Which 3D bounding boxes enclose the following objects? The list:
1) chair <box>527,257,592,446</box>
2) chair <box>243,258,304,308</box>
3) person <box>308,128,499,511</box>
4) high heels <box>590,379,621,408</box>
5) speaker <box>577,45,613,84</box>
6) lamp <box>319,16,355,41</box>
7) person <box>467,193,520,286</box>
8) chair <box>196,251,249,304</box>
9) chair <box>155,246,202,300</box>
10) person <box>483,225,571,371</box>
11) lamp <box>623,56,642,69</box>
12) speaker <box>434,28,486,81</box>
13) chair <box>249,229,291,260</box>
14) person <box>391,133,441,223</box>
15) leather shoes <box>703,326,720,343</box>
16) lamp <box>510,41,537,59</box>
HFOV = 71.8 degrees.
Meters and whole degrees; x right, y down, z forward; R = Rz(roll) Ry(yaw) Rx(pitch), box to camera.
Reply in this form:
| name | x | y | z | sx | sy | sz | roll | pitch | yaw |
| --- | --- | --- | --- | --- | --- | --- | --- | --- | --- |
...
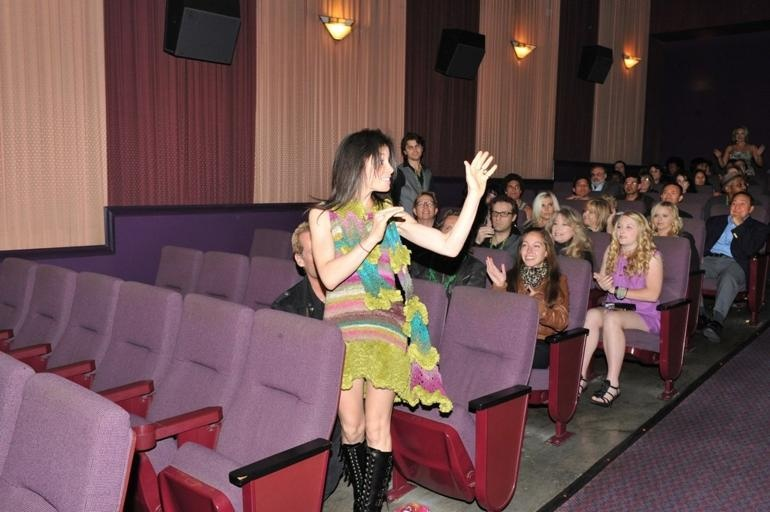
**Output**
| name | x | y | z | sx | sy | sz | roll | pitch | yaw |
| --- | --- | --- | --- | --- | --- | --- | --- | --- | --- |
| chair | 1.151 | 0.631 | 3.479 | 0.311 | 1.117 | 0.716 | 3 | 13 | 23 |
| chair | -0.802 | 0.201 | 3.929 | 0.355 | 0.457 | 0.368 | 10 | -3 | 14 |
| person | 0.040 | 0.340 | 2.416 | 0.687 | 1.790 | 0.319 | -6 | 13 | -15 |
| high heels | 1.643 | 0.992 | 3.928 | 0.277 | 0.185 | 0.121 | -12 | 15 | -35 |
| speaker | 3.948 | -3.616 | 9.949 | 0.756 | 0.672 | 0.293 | -12 | 16 | -38 |
| lamp | -0.534 | -2.711 | 6.306 | 0.495 | 0.270 | 0.141 | -13 | 17 | -40 |
| person | 0.885 | -0.051 | 4.520 | 0.332 | 0.982 | 0.309 | 14 | 36 | 4 |
| chair | -1.211 | 0.197 | 4.176 | 0.295 | 0.482 | 0.427 | 9 | -7 | 15 |
| chair | -1.572 | 0.131 | 4.062 | 0.273 | 0.438 | 0.318 | 15 | 4 | 13 |
| person | 0.922 | 0.335 | 3.470 | 0.520 | 0.843 | 0.635 | 10 | 24 | 34 |
| lamp | 5.112 | -4.040 | 10.975 | 0.344 | 0.369 | 0.083 | -2 | 14 | -31 |
| speaker | 1.082 | -2.913 | 7.642 | 0.807 | 0.683 | 0.277 | -12 | 16 | -37 |
| chair | -1.061 | -0.080 | 5.077 | 0.275 | 0.429 | 0.353 | 2 | -2 | 11 |
| person | 0.364 | -0.631 | 5.992 | 0.503 | 1.466 | 0.344 | -3 | 1 | -16 |
| leather shoes | 3.022 | 0.724 | 4.918 | 0.083 | 0.094 | 0.209 | 2 | -37 | 42 |
| lamp | 2.269 | -3.346 | 8.599 | 0.546 | 0.286 | 0.153 | -13 | 16 | -38 |
